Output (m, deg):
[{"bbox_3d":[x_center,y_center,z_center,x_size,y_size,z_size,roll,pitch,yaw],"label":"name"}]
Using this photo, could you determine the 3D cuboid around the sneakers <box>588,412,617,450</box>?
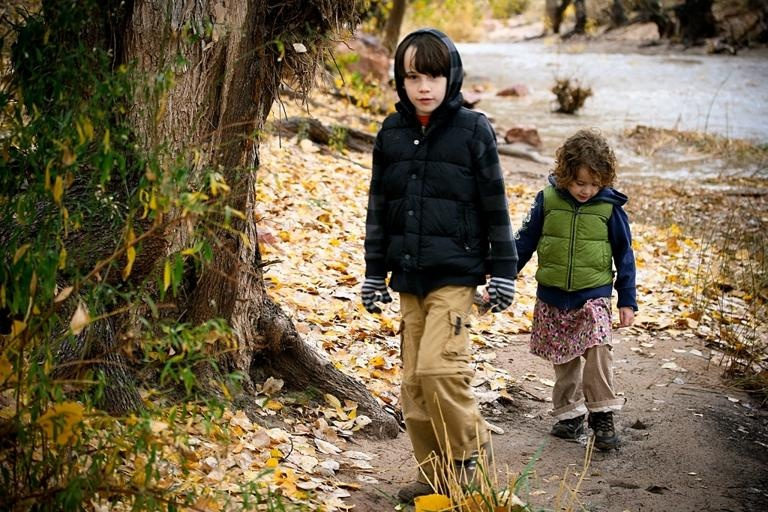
[{"bbox_3d":[1.477,1.175,5.717,0.144,0.192,0.427,-4,10,-1],"label":"sneakers"}]

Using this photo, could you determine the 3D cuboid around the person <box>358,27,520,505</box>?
[{"bbox_3d":[0.296,-0.029,5.016,0.967,2.547,0.798,6,16,18],"label":"person"}]

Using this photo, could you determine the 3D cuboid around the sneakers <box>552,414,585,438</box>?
[{"bbox_3d":[1.303,1.192,5.871,0.114,0.173,0.263,14,-3,43],"label":"sneakers"}]

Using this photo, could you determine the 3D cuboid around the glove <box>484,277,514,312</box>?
[{"bbox_3d":[0.702,0.236,5.060,0.142,0.214,0.214,3,-12,2],"label":"glove"}]

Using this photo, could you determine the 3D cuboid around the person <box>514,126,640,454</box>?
[{"bbox_3d":[1.316,0.207,5.753,0.844,2.062,0.624,6,16,17],"label":"person"}]
